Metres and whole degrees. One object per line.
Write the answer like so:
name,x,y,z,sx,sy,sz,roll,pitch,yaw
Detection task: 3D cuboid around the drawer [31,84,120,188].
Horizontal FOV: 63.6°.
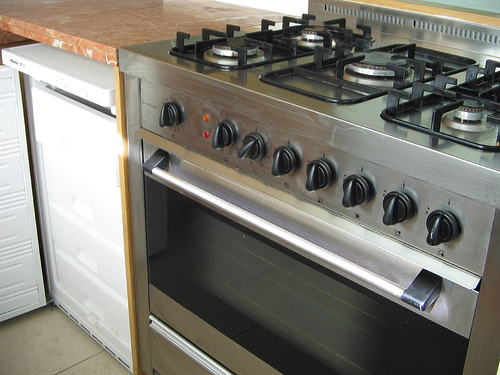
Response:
drawer,-0.593,-0.184,1.389,0.336,0.161,0.174,28,37,28
